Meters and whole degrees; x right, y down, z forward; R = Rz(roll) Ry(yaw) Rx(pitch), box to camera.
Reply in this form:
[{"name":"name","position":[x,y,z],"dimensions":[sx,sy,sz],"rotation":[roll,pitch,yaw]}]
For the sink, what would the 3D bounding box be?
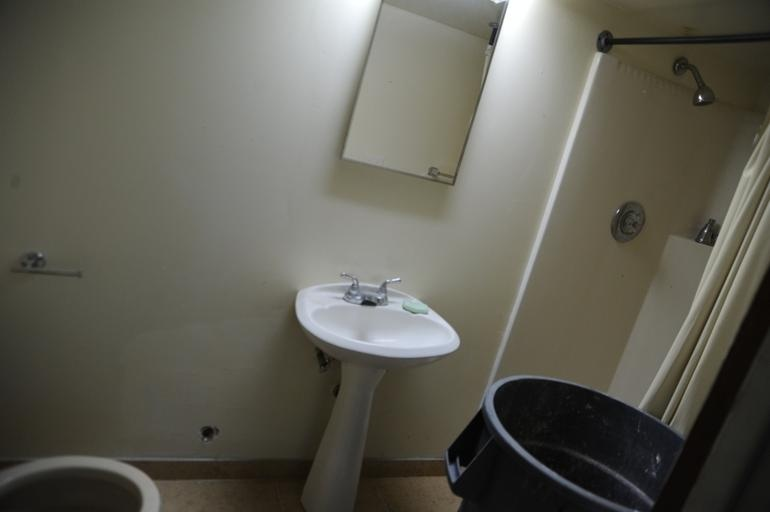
[{"name":"sink","position":[-0.039,0.308,2.613],"dimensions":[0.727,0.235,0.488],"rotation":[10,12,-9]}]
